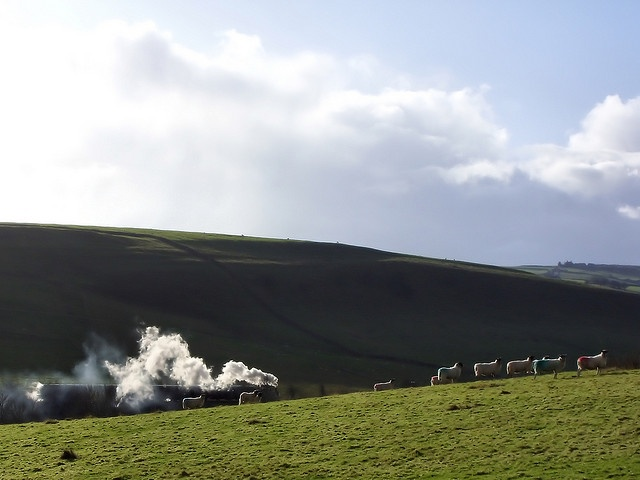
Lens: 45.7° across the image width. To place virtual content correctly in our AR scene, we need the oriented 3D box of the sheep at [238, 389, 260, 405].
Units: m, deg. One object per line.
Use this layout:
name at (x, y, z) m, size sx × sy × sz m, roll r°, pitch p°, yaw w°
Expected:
sheep at (-6.099, 14.137, 67.497) m, size 2.408 × 1.503 × 0.892 m, roll -1°, pitch 0°, yaw -22°
